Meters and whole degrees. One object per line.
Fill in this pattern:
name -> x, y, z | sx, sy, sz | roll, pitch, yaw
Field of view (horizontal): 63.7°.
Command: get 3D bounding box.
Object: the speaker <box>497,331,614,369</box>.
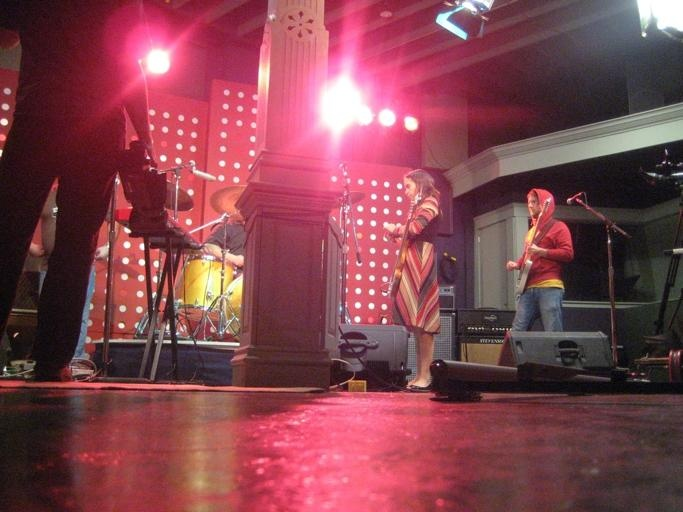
speaker -> 1.118, 0.492, 2.888 | 0.803, 0.195, 0.221 | 6, -10, -31

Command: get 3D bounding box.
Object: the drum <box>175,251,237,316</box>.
drum -> -1.171, 0.227, 4.756 | 0.461, 0.468, 0.519 | 3, -9, -15

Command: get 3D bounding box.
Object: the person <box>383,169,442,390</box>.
person -> 0.485, 0.107, 3.577 | 0.306, 1.493, 0.409 | -2, -9, 17

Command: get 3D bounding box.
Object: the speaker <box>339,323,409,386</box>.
speaker -> 0.199, 0.768, 4.791 | 0.668, 0.524, 0.411 | 1, 14, -5
